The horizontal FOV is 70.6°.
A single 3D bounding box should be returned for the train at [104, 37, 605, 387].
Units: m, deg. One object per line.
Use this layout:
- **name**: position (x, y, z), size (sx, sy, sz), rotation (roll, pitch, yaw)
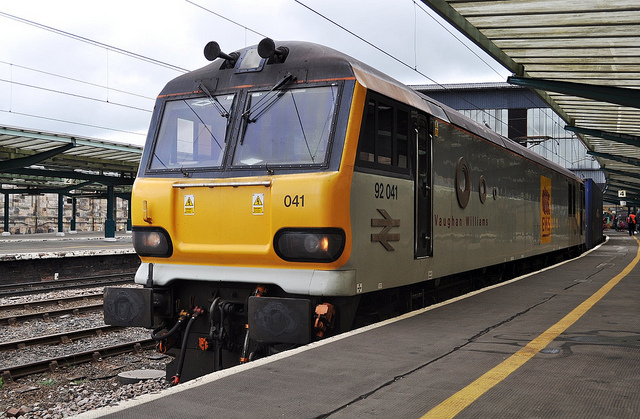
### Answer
- **train**: position (2.810, -0.080, 12.466), size (3.983, 4.680, 15.230), rotation (-2, -2, 34)
